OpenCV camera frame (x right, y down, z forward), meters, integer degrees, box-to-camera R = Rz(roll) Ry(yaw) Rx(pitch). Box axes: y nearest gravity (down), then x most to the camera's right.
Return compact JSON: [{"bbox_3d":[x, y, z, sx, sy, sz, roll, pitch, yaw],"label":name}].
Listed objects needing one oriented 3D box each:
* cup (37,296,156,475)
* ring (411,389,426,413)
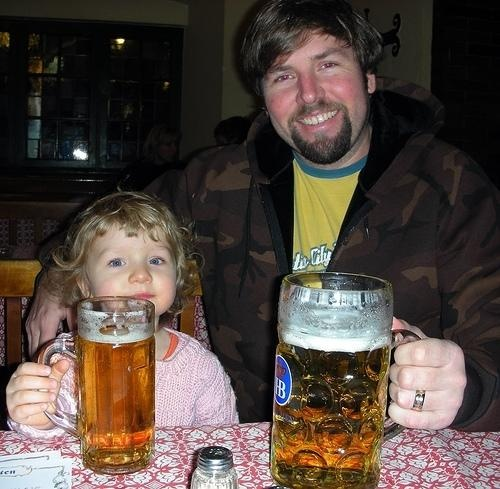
[{"bbox_3d":[-0.200,0.170,0.648,0.104,0.202,0.185,-3,8,-40],"label":"cup"},{"bbox_3d":[0.209,0.194,0.616,0.020,0.022,0.008,-1,-3,-27],"label":"ring"}]
